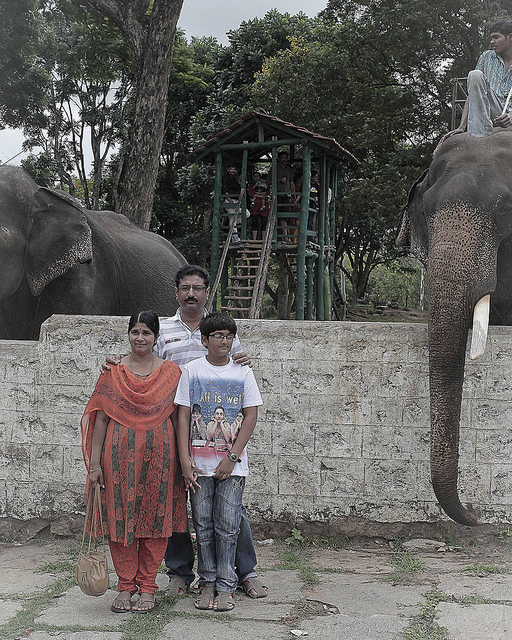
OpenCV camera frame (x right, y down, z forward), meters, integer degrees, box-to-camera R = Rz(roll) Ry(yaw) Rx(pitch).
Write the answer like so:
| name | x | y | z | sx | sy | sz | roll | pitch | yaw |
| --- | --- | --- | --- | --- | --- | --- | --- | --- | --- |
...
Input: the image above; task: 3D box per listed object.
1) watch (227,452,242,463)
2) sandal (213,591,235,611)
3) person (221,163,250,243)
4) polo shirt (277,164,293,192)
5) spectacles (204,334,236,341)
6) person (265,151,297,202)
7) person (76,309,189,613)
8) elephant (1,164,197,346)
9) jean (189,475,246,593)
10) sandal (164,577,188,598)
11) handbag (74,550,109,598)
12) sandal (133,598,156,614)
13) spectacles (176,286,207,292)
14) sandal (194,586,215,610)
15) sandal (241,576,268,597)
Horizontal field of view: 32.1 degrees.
| name | x | y | z | sx | sy | sz | roll | pitch | yaw |
| --- | --- | --- | --- | --- | --- | --- | --- | --- | --- |
| watch | -0.098 | 0.672 | 4.416 | 0.087 | 0.060 | 0.048 | -2 | 6 | -35 |
| sandal | -0.162 | 1.364 | 4.404 | 0.097 | 0.079 | 0.139 | 1 | 5 | 2 |
| person | -0.381 | -2.109 | 15.720 | 0.491 | 1.450 | 1.493 | 1 | 5 | -2 |
| polo shirt | 0.486 | -2.418 | 15.153 | 0.263 | 0.481 | 0.486 | 1 | 5 | 1 |
| spectacles | -0.184 | 0.078 | 4.413 | 0.141 | 0.034 | 0.061 | 1 | 5 | -6 |
| person | 0.440 | -2.450 | 15.099 | 0.512 | 0.806 | 0.805 | 1 | 5 | 2 |
| person | -0.618 | 0.685 | 4.458 | 0.451 | 1.467 | 0.385 | 3 | 5 | 24 |
| elephant | -1.561 | -0.524 | 8.028 | 1.111 | 1.442 | 2.662 | -10 | -10 | 24 |
| jean | -0.201 | 1.047 | 4.463 | 0.274 | 0.580 | 0.185 | 1 | 5 | -3 |
| sandal | -0.421 | 1.365 | 4.604 | 0.081 | 0.087 | 0.138 | 3 | 5 | 22 |
| handbag | -0.778 | 1.165 | 4.263 | 0.136 | 0.268 | 0.242 | -2 | 0 | -31 |
| sandal | -0.546 | 1.372 | 4.343 | 0.085 | 0.055 | 0.110 | 2 | 5 | 15 |
| spectacles | -0.343 | -0.170 | 4.691 | 0.122 | 0.032 | 0.040 | 1 | 5 | -4 |
| sandal | -0.260 | 1.357 | 4.414 | 0.096 | 0.086 | 0.106 | 1 | 5 | 0 |
| sandal | -0.014 | 1.361 | 4.608 | 0.084 | 0.074 | 0.136 | -1 | 5 | -23 |
